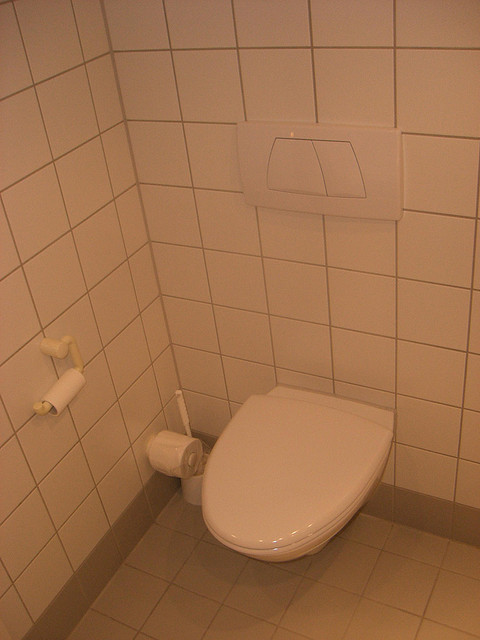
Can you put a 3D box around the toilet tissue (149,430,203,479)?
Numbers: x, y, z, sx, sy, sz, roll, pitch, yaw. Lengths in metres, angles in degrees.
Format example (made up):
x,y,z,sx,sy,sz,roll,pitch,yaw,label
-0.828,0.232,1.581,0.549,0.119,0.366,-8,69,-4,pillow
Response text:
x,y,z,sx,sy,sz,roll,pitch,yaw,label
-0.216,0.458,1.685,0.135,0.153,0.128,8,17,24,toilet tissue

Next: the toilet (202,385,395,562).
x,y,z,sx,sy,sz,roll,pitch,yaw,label
0.143,0.353,1.248,0.339,0.271,0.513,10,42,28,toilet

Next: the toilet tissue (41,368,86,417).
x,y,z,sx,sy,sz,roll,pitch,yaw,label
-0.407,0.164,1.153,0.054,0.052,0.132,4,54,38,toilet tissue
